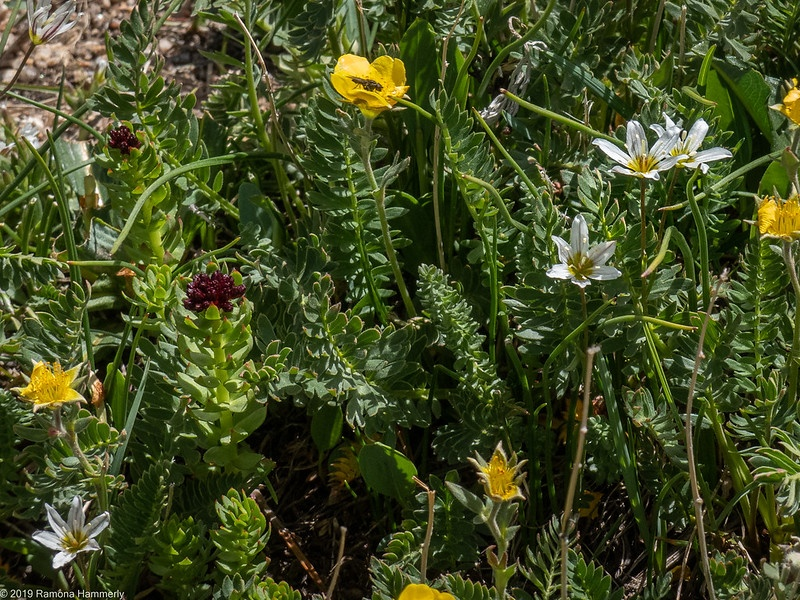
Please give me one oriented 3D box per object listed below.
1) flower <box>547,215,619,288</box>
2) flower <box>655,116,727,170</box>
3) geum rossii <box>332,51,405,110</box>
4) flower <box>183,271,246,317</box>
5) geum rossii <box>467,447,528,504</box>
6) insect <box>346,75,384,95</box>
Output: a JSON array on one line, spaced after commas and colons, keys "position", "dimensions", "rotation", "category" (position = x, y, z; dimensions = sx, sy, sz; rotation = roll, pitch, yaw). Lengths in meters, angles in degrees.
[{"position": [0.359, -0.088, 1.697], "dimensions": [0.144, 0.165, 0.073], "rotation": [-3, 59, 34], "category": "flower"}, {"position": [0.595, -0.340, 1.757], "dimensions": [0.126, 0.057, 0.162], "rotation": [13, 62, -19], "category": "flower"}, {"position": [-0.089, -0.493, 1.842], "dimensions": [0.107, 0.069, 0.104], "rotation": [18, 29, -12], "category": "geum rossii"}, {"position": [-0.387, -0.017, 1.730], "dimensions": [0.080, 0.059, 0.099], "rotation": [11, 28, 22], "category": "flower"}, {"position": [0.179, 0.315, 1.490], "dimensions": [0.092, 0.062, 0.089], "rotation": [-3, 38, -3], "category": "geum rossii"}, {"position": [-0.069, -0.453, 1.785], "dimensions": [0.069, 0.039, 0.072], "rotation": [-2, 40, -3], "category": "insect"}]
